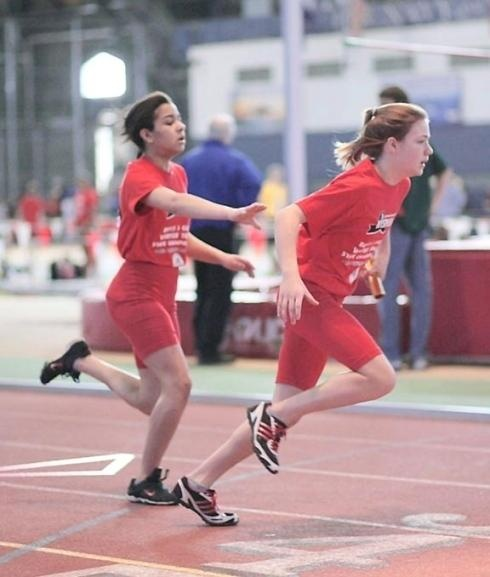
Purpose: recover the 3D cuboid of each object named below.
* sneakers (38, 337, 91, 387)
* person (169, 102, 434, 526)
[{"bbox_3d":[-0.816,0.355,3.940,0.132,0.349,0.113,44,27,-31],"label":"sneakers"},{"bbox_3d":[0.200,0.094,3.205,0.919,1.511,0.672,4,-6,5],"label":"person"}]
